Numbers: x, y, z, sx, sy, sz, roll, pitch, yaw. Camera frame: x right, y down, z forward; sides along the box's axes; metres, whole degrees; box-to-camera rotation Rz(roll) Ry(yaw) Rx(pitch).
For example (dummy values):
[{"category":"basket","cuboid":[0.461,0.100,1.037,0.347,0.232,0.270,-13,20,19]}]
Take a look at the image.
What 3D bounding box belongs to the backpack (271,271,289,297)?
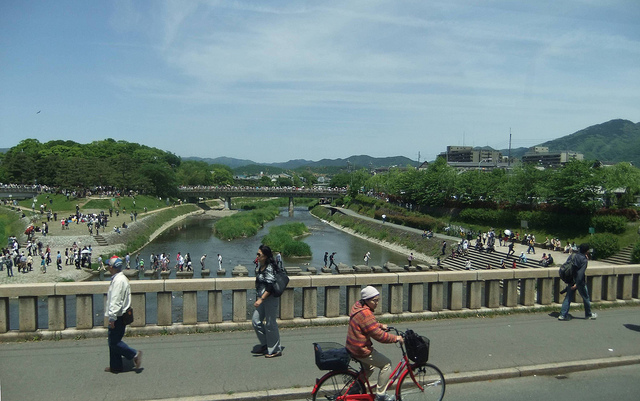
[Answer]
[{"category":"backpack","cuboid":[-1.850,3.772,28.913,0.712,1.023,0.348,15,-5,36]}]
